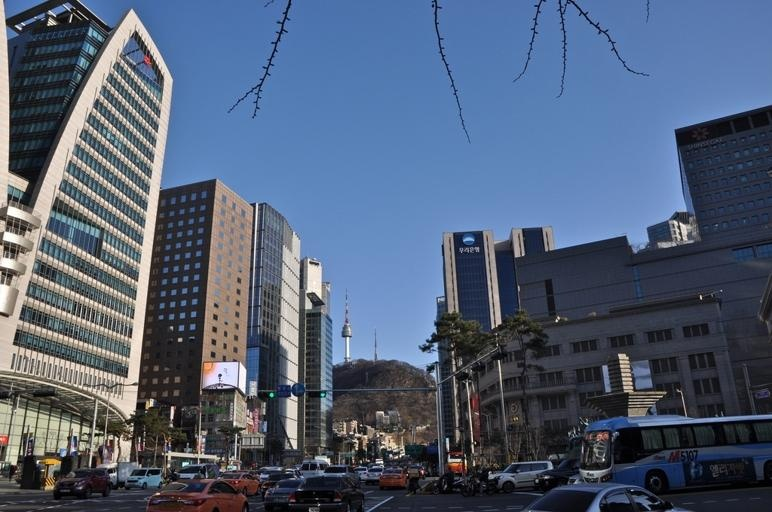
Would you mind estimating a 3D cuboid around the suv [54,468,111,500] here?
[{"bbox_3d":[-28.805,21.741,58.480,2.391,2.749,5.075,-18,-27,34],"label":"suv"}]

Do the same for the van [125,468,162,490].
[{"bbox_3d":[-28.217,25.982,71.861,2.188,1.618,3.500,-9,-24,22],"label":"van"}]

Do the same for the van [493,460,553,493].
[{"bbox_3d":[13.219,21.818,60.708,5.401,2.346,2.804,2,-19,-4],"label":"van"}]
